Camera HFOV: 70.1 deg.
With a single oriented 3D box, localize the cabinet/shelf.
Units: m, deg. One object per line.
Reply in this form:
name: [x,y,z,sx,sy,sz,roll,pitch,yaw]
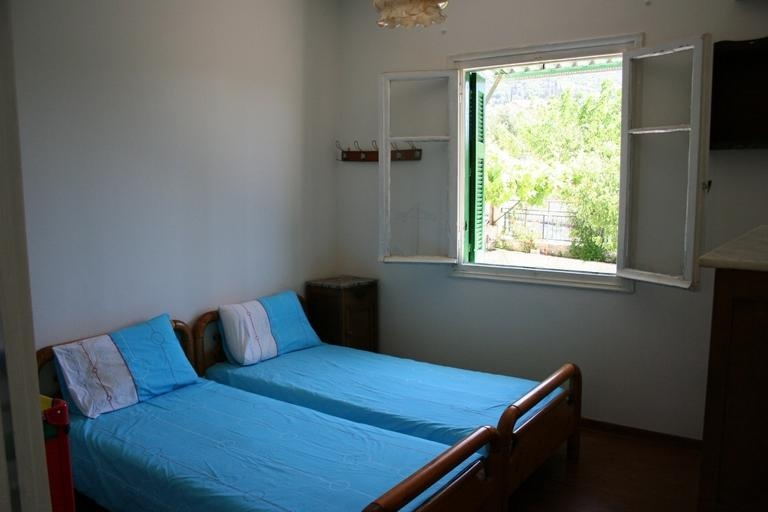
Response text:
cabinet/shelf: [-0.328,0.578,4.713,0.411,0.787,0.489,9,15,39]
